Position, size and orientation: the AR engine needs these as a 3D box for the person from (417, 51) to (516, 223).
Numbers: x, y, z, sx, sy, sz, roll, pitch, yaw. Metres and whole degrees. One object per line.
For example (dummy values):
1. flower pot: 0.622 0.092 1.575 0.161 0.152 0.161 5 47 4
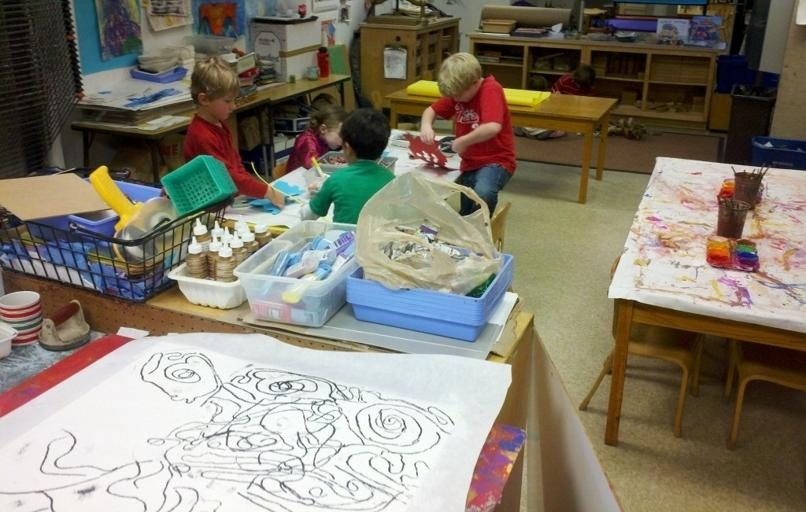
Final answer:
1. person: 0.449 -0.717 4.135 0.605 1.307 0.741 9 19 31

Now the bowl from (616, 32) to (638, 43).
1. bowl: 2.796 -2.746 7.359 0.273 0.094 0.426 10 27 18

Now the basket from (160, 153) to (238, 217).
1. basket: -0.658 -0.233 1.948 0.237 0.180 0.083 -22 6 19

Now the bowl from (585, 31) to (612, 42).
1. bowl: 2.440 -2.774 7.409 0.294 0.102 0.369 -4 26 -10

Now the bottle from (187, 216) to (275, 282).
1. bottle: -0.599 -0.022 1.940 0.221 0.129 0.225 4 22 -2

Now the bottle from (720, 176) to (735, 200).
1. bottle: 1.767 -0.365 3.198 0.078 0.024 0.227 6 27 29

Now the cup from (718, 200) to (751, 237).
1. cup: 1.555 -0.185 2.845 0.171 0.175 0.176 -5 24 2

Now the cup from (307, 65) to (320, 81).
1. cup: -0.914 -1.899 6.073 0.159 0.142 0.146 0 24 0
